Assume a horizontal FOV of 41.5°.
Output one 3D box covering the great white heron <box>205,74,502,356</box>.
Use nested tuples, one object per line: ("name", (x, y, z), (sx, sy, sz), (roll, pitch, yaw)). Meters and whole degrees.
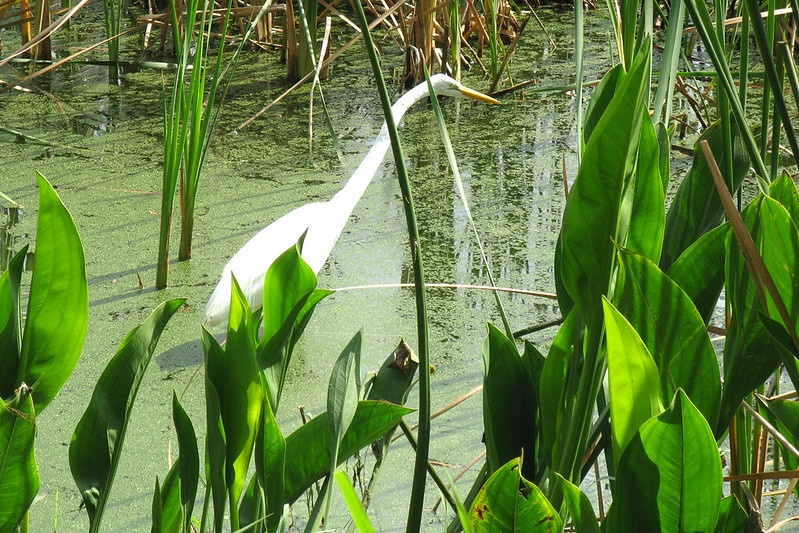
("great white heron", (-0.142, -0.133, 2.065), (0.586, 0.439, 0.430), (-8, 5, -39))
